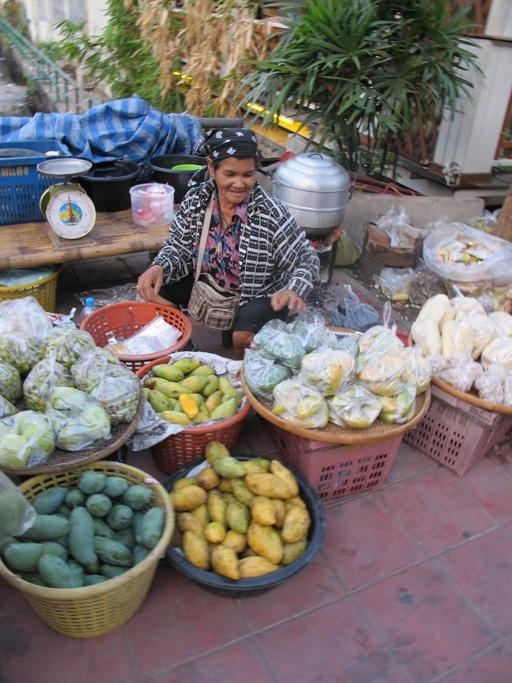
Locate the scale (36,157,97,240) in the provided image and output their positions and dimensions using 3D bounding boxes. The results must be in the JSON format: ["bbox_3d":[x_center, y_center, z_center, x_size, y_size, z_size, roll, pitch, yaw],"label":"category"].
[{"bbox_3d":[-1.223,-0.918,3.493,0.395,0.499,0.338,-14,32,-27],"label":"scale"}]

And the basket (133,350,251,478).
[{"bbox_3d":[-0.257,0.319,2.657,0.610,0.494,0.553,26,36,31],"label":"basket"}]

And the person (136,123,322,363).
[{"bbox_3d":[-0.107,-0.489,3.164,0.791,1.423,0.759,1,23,-6],"label":"person"}]

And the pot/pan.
[{"bbox_3d":[0.360,-1.074,3.984,0.623,0.590,0.542,-6,28,-10],"label":"pot/pan"}]
